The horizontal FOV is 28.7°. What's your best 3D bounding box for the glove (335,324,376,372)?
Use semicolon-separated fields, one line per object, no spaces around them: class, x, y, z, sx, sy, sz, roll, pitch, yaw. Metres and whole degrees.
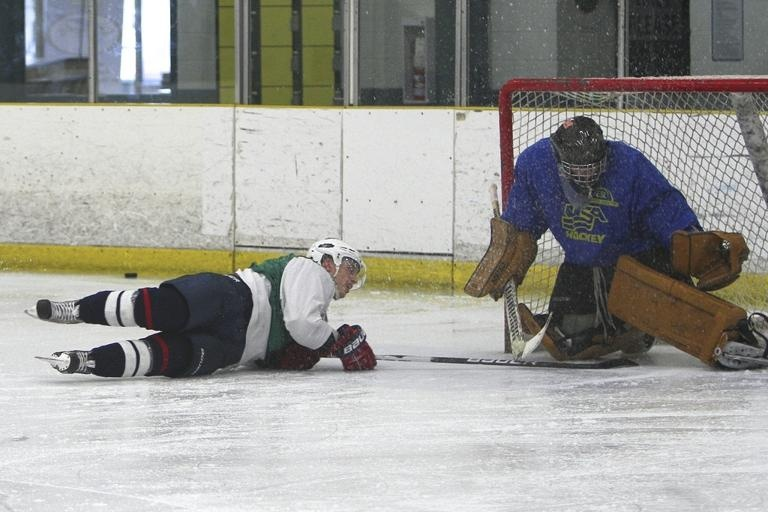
glove;-0.141;0.578;9.564;0.300;0.289;0.229;-2;10;6

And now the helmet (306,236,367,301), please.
helmet;-0.283;0.047;9.772;0.438;0.417;0.331;0;11;-10

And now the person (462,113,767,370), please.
person;1.517;-0.114;9.776;1.835;1.599;0.498;4;4;19

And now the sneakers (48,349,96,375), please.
sneakers;-1.894;0.639;9.076;0.275;0.158;0.199;2;4;-13

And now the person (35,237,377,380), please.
person;-1.123;0.408;9.590;2.096;0.875;0.897;2;-20;-11

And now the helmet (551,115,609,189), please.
helmet;1.283;-0.693;9.914;0.353;0.443;0.368;-21;-31;12
